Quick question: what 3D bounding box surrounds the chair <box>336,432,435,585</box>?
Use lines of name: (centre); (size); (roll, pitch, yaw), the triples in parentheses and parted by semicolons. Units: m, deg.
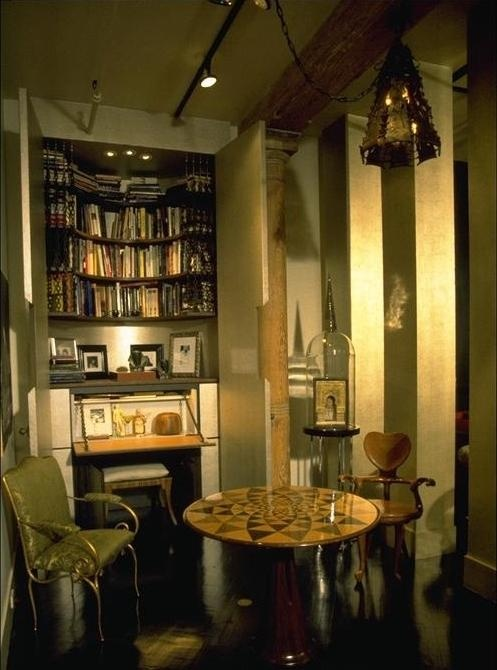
chair: (0.820, 1.047, 3.604); (0.450, 0.845, 0.460); (4, -4, -20)

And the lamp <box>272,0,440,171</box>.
lamp: (0.650, -1.345, 3.159); (0.637, 0.926, 0.936); (-1, -2, 6)

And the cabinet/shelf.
cabinet/shelf: (-1.004, -0.830, 4.858); (1.390, 1.376, 0.727); (-1, 0, -21)

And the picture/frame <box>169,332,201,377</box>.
picture/frame: (-0.547, 0.180, 5.106); (0.340, 0.428, 0.031); (-5, -11, 34)

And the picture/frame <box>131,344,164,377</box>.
picture/frame: (-0.877, 0.228, 5.019); (0.254, 0.270, 0.028); (4, -11, -44)

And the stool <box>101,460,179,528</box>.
stool: (-0.833, 1.189, 4.406); (0.494, 0.466, 0.417); (-4, 0, -21)

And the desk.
desk: (0.149, 0.975, 2.722); (0.688, 0.548, 0.715); (-2, 5, -11)

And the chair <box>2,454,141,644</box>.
chair: (-0.954, 1.061, 3.068); (0.584, 0.808, 0.625); (-1, -2, 6)

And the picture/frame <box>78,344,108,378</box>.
picture/frame: (-1.319, 0.233, 4.946); (0.272, 0.333, 0.024); (0, -17, -39)

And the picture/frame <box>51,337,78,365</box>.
picture/frame: (-1.489, 0.137, 4.731); (0.161, 0.170, 0.093); (7, -24, -41)
